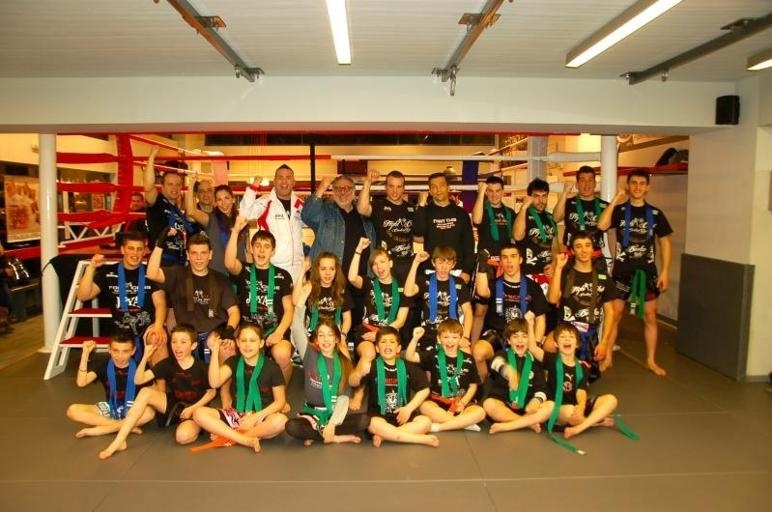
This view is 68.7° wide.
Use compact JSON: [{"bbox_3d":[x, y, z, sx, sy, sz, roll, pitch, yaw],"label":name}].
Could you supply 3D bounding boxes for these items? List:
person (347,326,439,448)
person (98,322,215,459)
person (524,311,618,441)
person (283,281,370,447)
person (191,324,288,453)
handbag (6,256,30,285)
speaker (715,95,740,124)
[{"bbox_3d":[0.034,1.186,5.518,1.109,1.198,0.999,-2,1,-11],"label":"person"},{"bbox_3d":[-2.023,1.179,5.490,0.768,0.956,1.307,20,14,15],"label":"person"},{"bbox_3d":[1.705,1.110,5.267,0.858,1.075,0.461,2,13,12],"label":"person"},{"bbox_3d":[-0.558,1.136,5.199,0.736,1.104,0.448,-2,13,-7],"label":"person"},{"bbox_3d":[-1.285,1.160,5.224,0.869,1.075,0.590,2,13,12],"label":"person"},{"bbox_3d":[-5.112,0.177,7.814,0.214,0.375,0.185,-5,13,-20],"label":"handbag"},{"bbox_3d":[3.810,-1.641,6.337,0.249,0.323,0.133,5,14,22],"label":"speaker"}]
